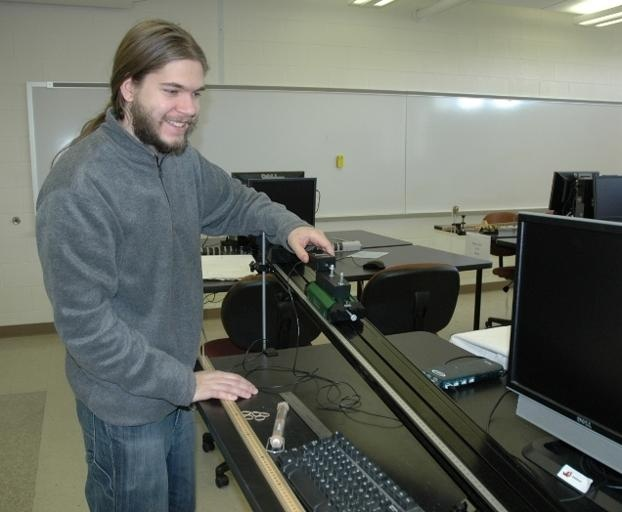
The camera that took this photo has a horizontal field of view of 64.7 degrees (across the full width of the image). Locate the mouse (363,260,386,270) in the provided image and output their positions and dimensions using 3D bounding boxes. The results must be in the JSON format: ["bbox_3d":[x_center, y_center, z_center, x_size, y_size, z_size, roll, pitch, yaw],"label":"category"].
[{"bbox_3d":[0.375,0.048,2.897,0.058,0.029,0.094,-5,6,-36],"label":"mouse"}]

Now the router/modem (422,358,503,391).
[{"bbox_3d":[0.413,0.300,1.356,0.200,0.043,0.098,-7,16,-24],"label":"router/modem"}]

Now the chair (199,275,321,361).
[{"bbox_3d":[-0.248,0.264,2.441,0.492,0.530,0.454,-1,14,-10],"label":"chair"}]

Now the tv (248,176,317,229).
[{"bbox_3d":[-0.211,-0.449,3.387,0.494,0.436,0.365,-3,13,-10],"label":"tv"}]

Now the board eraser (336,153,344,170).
[{"bbox_3d":[0.287,-0.907,4.749,0.079,0.144,0.034,-3,12,-13],"label":"board eraser"}]
